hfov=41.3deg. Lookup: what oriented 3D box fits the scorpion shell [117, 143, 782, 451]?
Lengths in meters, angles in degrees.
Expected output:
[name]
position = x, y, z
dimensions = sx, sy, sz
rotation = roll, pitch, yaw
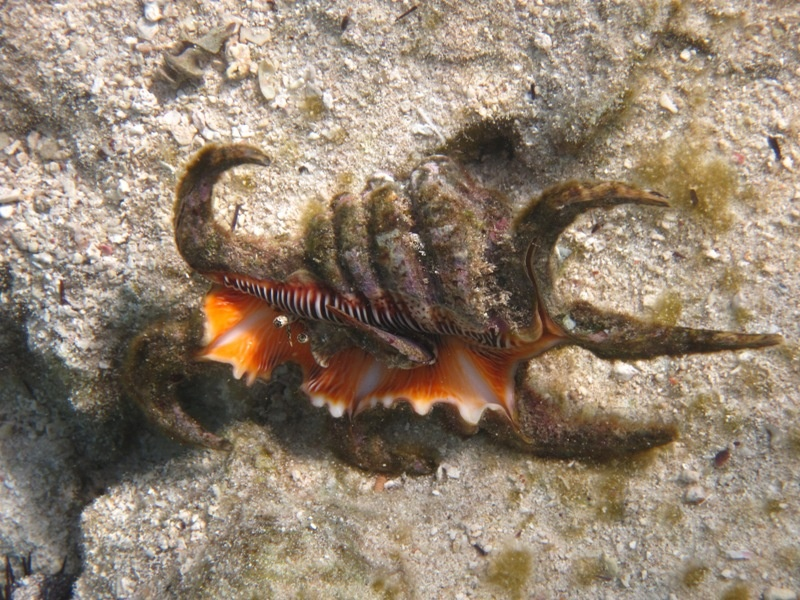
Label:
[scorpion shell]
position = 0.306, -0.002, 8.024
dimensions = 4.413, 1.463, 2.996
rotation = 7, 97, -1
